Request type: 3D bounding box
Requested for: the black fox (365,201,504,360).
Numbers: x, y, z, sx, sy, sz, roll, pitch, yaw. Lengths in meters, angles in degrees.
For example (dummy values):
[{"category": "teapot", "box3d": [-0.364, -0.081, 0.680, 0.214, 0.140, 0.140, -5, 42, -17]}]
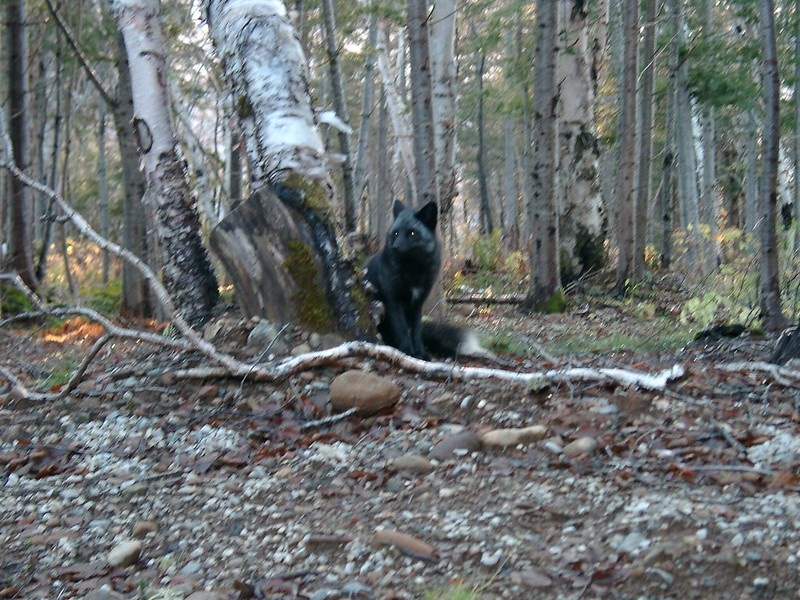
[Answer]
[{"category": "black fox", "box3d": [0.209, -0.275, 13.730, 1.516, 1.992, 1.244, 0, 8, 14]}]
